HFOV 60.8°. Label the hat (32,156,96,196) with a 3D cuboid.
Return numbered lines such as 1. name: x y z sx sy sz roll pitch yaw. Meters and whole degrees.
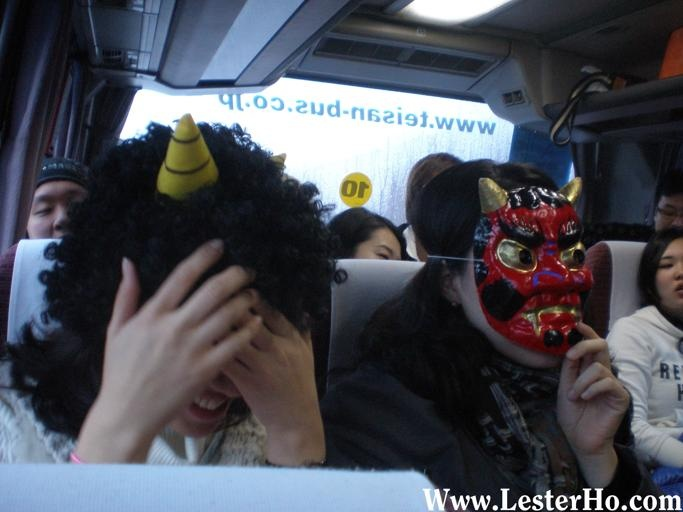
1. hat: -0.475 -0.133 0.983 0.078 0.040 0.079 -2 -1 41
